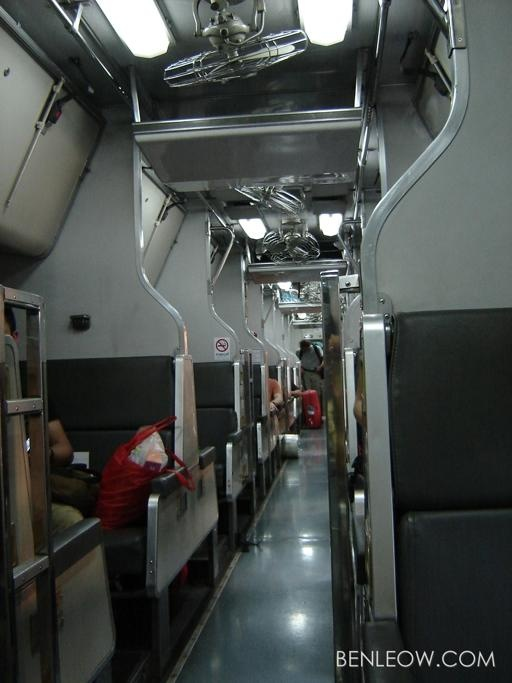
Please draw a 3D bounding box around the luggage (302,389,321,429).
[{"bbox_3d":[1.424,1.760,13.412,0.353,0.971,0.594,-3,23,3],"label":"luggage"}]
